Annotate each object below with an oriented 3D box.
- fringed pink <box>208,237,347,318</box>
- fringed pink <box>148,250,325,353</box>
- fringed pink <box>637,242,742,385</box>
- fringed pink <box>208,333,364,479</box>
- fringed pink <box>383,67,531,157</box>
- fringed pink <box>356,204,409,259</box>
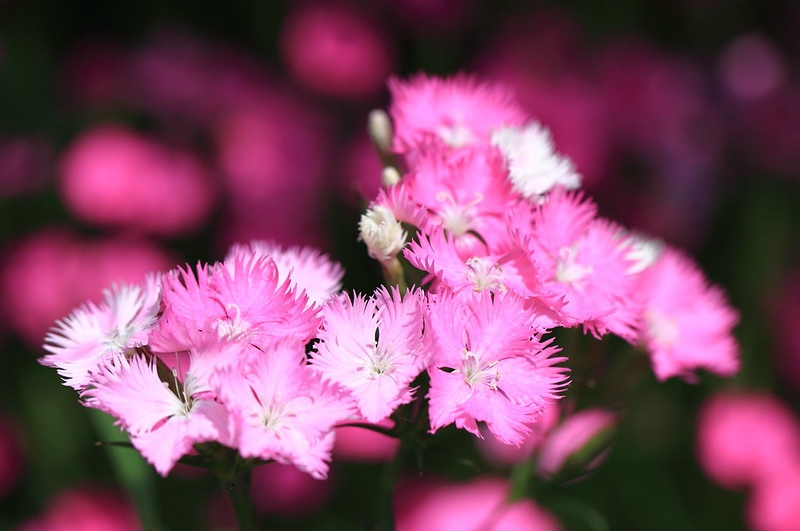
[{"bbox_3d":[-0.172,0.035,1.156,0.114,0.114,0.043,-10,56,50],"label":"fringed pink"},{"bbox_3d":[-0.185,0.054,1.067,0.189,0.082,0.215,8,9,-9],"label":"fringed pink"},{"bbox_3d":[0.370,0.063,1.166,0.138,0.099,0.169,7,48,8],"label":"fringed pink"},{"bbox_3d":[-0.132,0.170,1.028,0.066,0.157,0.153,-4,35,29],"label":"fringed pink"},{"bbox_3d":[0.075,-0.212,1.252,0.191,0.070,0.263,-2,1,-12],"label":"fringed pink"},{"bbox_3d":[-0.021,-0.035,1.100,0.056,0.059,0.045,13,48,13],"label":"fringed pink"}]
